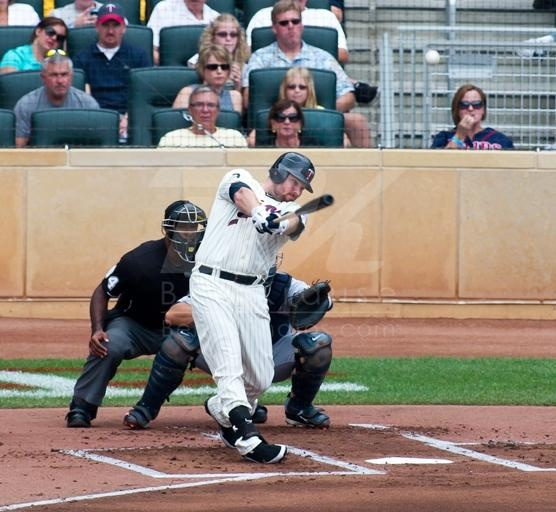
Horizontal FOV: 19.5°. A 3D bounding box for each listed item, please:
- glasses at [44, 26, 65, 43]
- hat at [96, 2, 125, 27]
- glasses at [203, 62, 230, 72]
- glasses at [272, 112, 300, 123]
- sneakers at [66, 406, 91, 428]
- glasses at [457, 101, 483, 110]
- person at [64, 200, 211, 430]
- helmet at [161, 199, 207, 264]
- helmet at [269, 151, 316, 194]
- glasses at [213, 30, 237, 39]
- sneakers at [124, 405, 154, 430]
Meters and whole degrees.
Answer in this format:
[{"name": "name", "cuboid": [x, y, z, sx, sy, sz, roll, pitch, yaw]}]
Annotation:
[{"name": "glasses", "cuboid": [-2.255, -2.246, 16.378, 0.160, 0.051, 0.160, 14, -8, 35]}, {"name": "hat", "cuboid": [-1.702, -2.462, 16.416, 0.286, 0.210, 0.307, 0, 11, -6]}, {"name": "glasses", "cuboid": [-0.595, -1.861, 15.856, 0.251, 0.080, 0.079, -5, 13, -30]}, {"name": "glasses", "cuboid": [0.082, -1.327, 15.438, 0.249, 0.106, 0.096, 0, 11, -4]}, {"name": "sneakers", "cuboid": [-1.490, 1.200, 12.133, 0.187, 0.136, 0.130, -2, 11, -13]}, {"name": "glasses", "cuboid": [1.890, -1.490, 15.875, 0.241, 0.084, 0.098, 0, 11, -4]}, {"name": "person", "cuboid": [-1.245, 0.300, 12.557, 1.019, 1.735, 0.978, -7, 20, -29]}, {"name": "helmet", "cuboid": [-0.754, -0.218, 12.272, 0.292, 0.496, 0.308, -6, 11, -28]}, {"name": "helmet", "cuboid": [0.100, -0.625, 11.641, 0.340, 0.243, 0.242, 35, 3, 20]}, {"name": "glasses", "cuboid": [-0.513, -2.244, 16.346, 0.269, 0.063, 0.056, -6, 13, -32]}, {"name": "sneakers", "cuboid": [-1.036, 1.189, 11.986, 0.137, 0.110, 0.286, -26, 9, -22]}]
